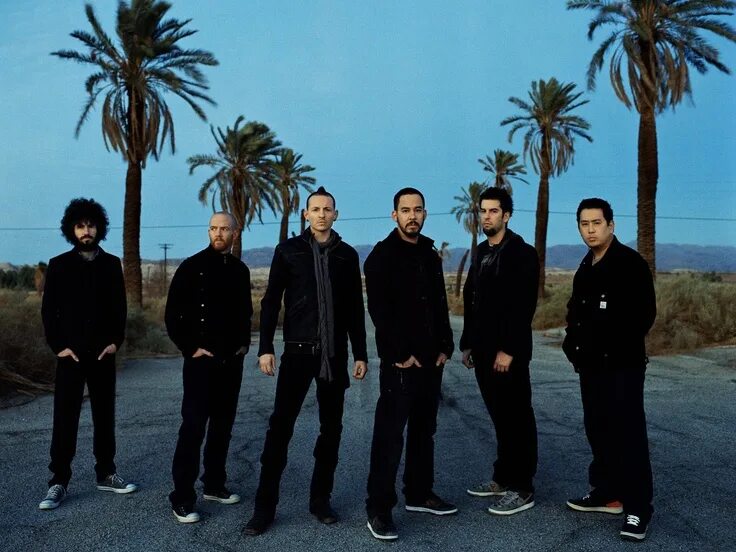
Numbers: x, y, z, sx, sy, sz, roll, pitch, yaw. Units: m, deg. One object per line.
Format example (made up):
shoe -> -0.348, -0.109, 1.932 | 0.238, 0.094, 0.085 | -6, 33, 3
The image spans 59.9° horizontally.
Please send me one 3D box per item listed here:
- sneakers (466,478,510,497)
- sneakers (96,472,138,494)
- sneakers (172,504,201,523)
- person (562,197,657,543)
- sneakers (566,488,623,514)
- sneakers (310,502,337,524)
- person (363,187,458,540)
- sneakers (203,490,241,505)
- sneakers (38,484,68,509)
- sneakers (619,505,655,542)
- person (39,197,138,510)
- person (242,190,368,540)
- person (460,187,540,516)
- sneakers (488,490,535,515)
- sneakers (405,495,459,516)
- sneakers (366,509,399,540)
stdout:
sneakers -> 1.279, 2.275, 6.890 | 0.435, 0.204, 0.166 | 3, -6, -3
sneakers -> -2.695, 2.195, 6.927 | 0.447, 0.211, 0.180 | 1, -2, 9
sneakers -> -1.824, 2.320, 6.319 | 0.332, 0.141, 0.162 | 2, 6, 21
person -> 2.414, 0.812, 6.409 | 0.760, 3.176, 1.088 | -4, 7, -39
sneakers -> 2.287, 2.273, 6.575 | 0.561, 0.286, 0.227 | 2, -7, 7
sneakers -> -0.440, 2.323, 6.327 | 0.133, 0.295, 0.273 | 4, -13, -36
person -> 0.390, 0.757, 6.492 | 1.169, 3.287, 0.796 | -4, 7, -40
sneakers -> -1.543, 2.284, 6.765 | 0.359, 0.167, 0.159 | 0, -4, 7
sneakers -> -3.257, 2.242, 6.596 | 0.220, 0.175, 0.349 | -1, 6, -14
sneakers -> 2.547, 2.309, 6.032 | 0.371, 0.261, 0.213 | -1, 6, -13
person -> -3.083, 0.712, 7.007 | 0.845, 3.122, 1.027 | -3, 6, -26
person -> -0.568, 0.750, 6.435 | 1.130, 3.280, 0.882 | -1, 5, -8
person -> 1.424, 0.700, 6.833 | 0.722, 3.287, 0.988 | -3, 6, -27
sneakers -> 1.463, 2.273, 6.558 | 0.538, 0.248, 0.194 | 3, -3, -26
sneakers -> 0.642, 2.274, 6.534 | 0.517, 0.246, 0.201 | 0, -6, 11
sneakers -> 0.114, 2.359, 6.086 | 0.347, 0.195, 0.196 | 3, 6, 25
